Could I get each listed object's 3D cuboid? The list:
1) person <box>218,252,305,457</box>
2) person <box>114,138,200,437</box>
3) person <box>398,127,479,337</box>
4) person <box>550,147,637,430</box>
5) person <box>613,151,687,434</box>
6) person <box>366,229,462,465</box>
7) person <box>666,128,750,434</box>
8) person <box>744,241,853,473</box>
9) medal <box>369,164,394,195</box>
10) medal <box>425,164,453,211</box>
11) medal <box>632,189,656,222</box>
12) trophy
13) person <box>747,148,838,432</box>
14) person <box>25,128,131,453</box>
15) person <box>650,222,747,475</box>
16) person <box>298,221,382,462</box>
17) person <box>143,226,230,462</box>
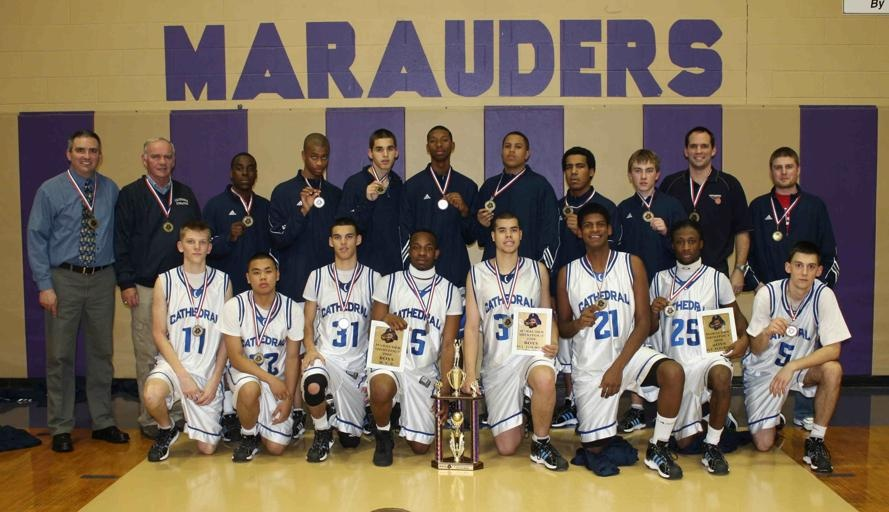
[{"bbox_3d":[-2.382,1.340,12.110,1.059,2.704,0.501,-1,4,-13],"label":"person"},{"bbox_3d":[-4.135,0.424,13.079,1.119,4.044,0.987,0,-1,-15],"label":"person"},{"bbox_3d":[-0.093,-0.183,13.108,0.976,3.398,0.871,5,20,8],"label":"person"},{"bbox_3d":[1.833,0.528,13.078,0.925,3.921,1.026,1,1,-31],"label":"person"},{"bbox_3d":[2.833,0.453,12.856,1.068,3.784,0.844,1,1,21],"label":"person"},{"bbox_3d":[-0.380,1.225,12.383,1.089,3.260,1.016,1,0,4],"label":"person"},{"bbox_3d":[3.774,-0.286,13.074,0.732,2.950,0.817,1,1,-41],"label":"person"},{"bbox_3d":[4.610,1.213,12.098,1.190,3.148,0.899,2,0,18],"label":"person"},{"bbox_3d":[-0.920,-1.082,13.001,0.324,0.423,0.294,-1,5,-6],"label":"medal"},{"bbox_3d":[-0.030,-0.954,12.812,0.206,0.611,0.061,-1,-23,-7],"label":"medal"},{"bbox_3d":[2.801,-0.689,12.825,0.206,0.418,0.070,-7,-19,28],"label":"medal"},{"bbox_3d":[0.153,1.999,11.909,0.531,1.616,0.625,-1,-2,0],"label":"trophy"},{"bbox_3d":[4.894,0.452,13.047,1.205,4.013,0.949,-1,2,31],"label":"person"},{"bbox_3d":[-4.968,0.460,12.425,1.141,4.283,0.762,-2,5,-24],"label":"person"},{"bbox_3d":[3.352,1.201,12.110,1.105,3.509,0.924,3,0,-17],"label":"person"},{"bbox_3d":[-1.417,1.152,12.214,0.950,3.214,0.944,1,-2,-3],"label":"person"},{"bbox_3d":[-3.454,1.280,12.496,0.993,3.299,0.971,1,-1,-5],"label":"person"}]
